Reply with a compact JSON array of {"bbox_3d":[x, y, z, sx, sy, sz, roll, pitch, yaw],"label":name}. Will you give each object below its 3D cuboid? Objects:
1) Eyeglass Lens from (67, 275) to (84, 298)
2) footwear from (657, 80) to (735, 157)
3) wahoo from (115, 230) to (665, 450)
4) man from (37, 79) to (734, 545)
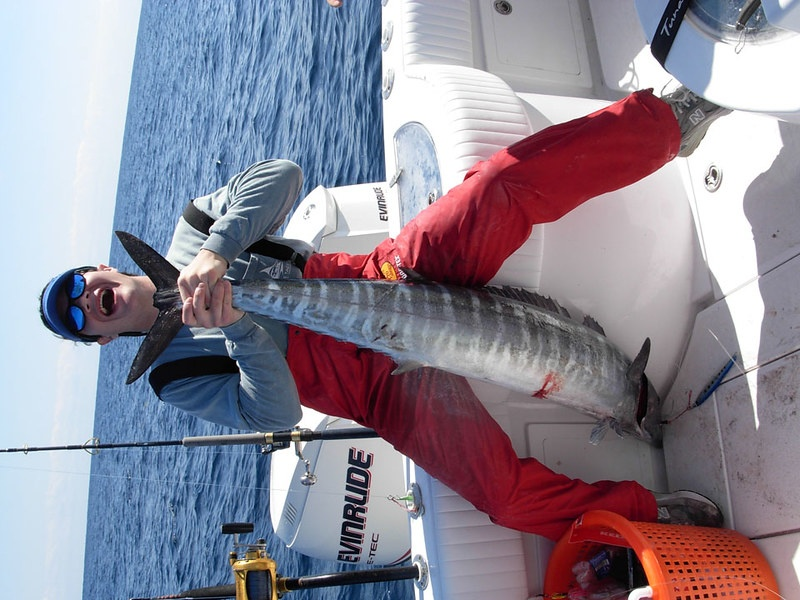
[{"bbox_3d":[-1.300,-0.051,2.881,0.059,0.020,0.087,3,82,6],"label":"Eyeglass Lens"},{"bbox_3d":[1.236,-0.811,3.081,0.449,0.207,0.160,-28,20,-20],"label":"footwear"},{"bbox_3d":[0.059,0.160,3.038,1.831,0.488,0.526,12,61,-7],"label":"wahoo"},{"bbox_3d":[0.046,-0.026,3.082,2.840,1.954,0.688,3,2,-16],"label":"man"}]
